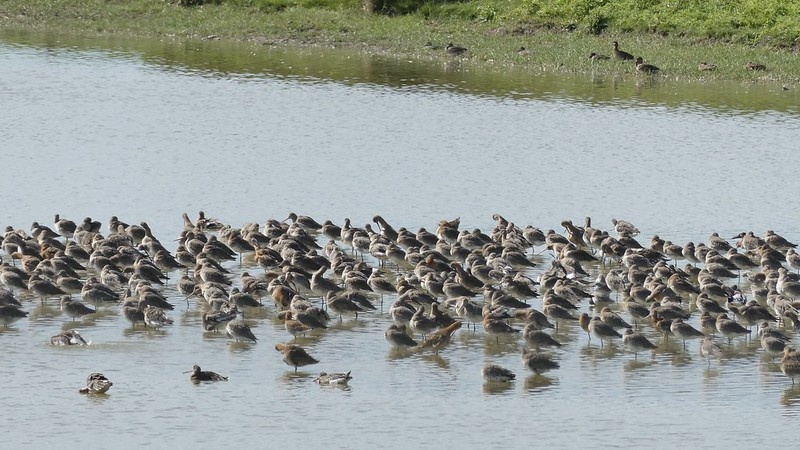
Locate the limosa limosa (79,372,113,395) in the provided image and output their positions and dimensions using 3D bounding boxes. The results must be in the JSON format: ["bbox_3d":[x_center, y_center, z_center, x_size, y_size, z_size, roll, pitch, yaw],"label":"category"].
[{"bbox_3d":[-9.072,4.843,38.572,0.950,0.633,0.439,4,28,-6],"label":"limosa limosa"}]

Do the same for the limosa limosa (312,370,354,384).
[{"bbox_3d":[-2.005,4.752,39.227,1.046,0.272,0.441,-5,-15,16],"label":"limosa limosa"}]

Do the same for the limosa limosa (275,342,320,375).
[{"bbox_3d":[-3.155,4.169,39.916,1.517,0.570,0.594,3,2,0],"label":"limosa limosa"}]

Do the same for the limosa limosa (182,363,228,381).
[{"bbox_3d":[-5.881,4.578,39.124,1.511,0.369,0.589,3,46,1],"label":"limosa limosa"}]
